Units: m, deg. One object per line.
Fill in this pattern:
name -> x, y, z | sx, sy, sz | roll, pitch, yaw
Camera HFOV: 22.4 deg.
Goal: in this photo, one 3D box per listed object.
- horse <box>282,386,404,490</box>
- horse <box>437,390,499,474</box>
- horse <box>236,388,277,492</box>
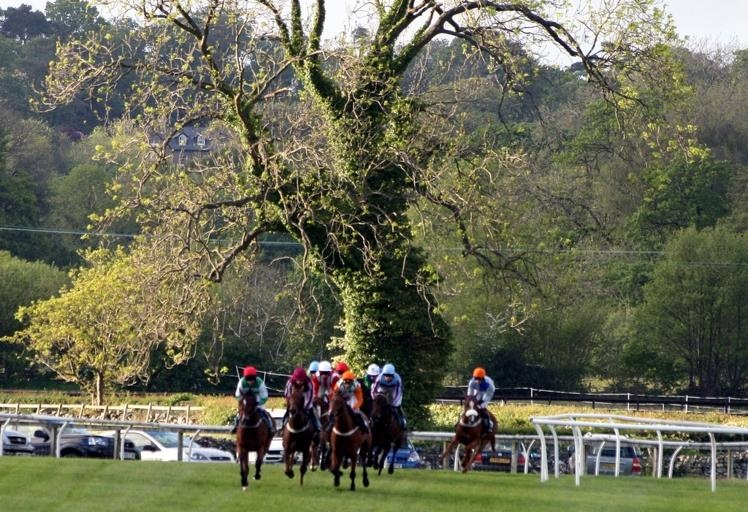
horse -> -1.399, 8.159, 85.354 | 4.597, 4.392, 9.221 | 1, 1, 6
horse -> 4.669, 7.975, 87.564 | 2.021, 4.025, 4.358 | 1, 8, 2
horse -> -5.385, 7.933, 84.284 | 1.884, 4.003, 3.155 | 0, -2, 0
